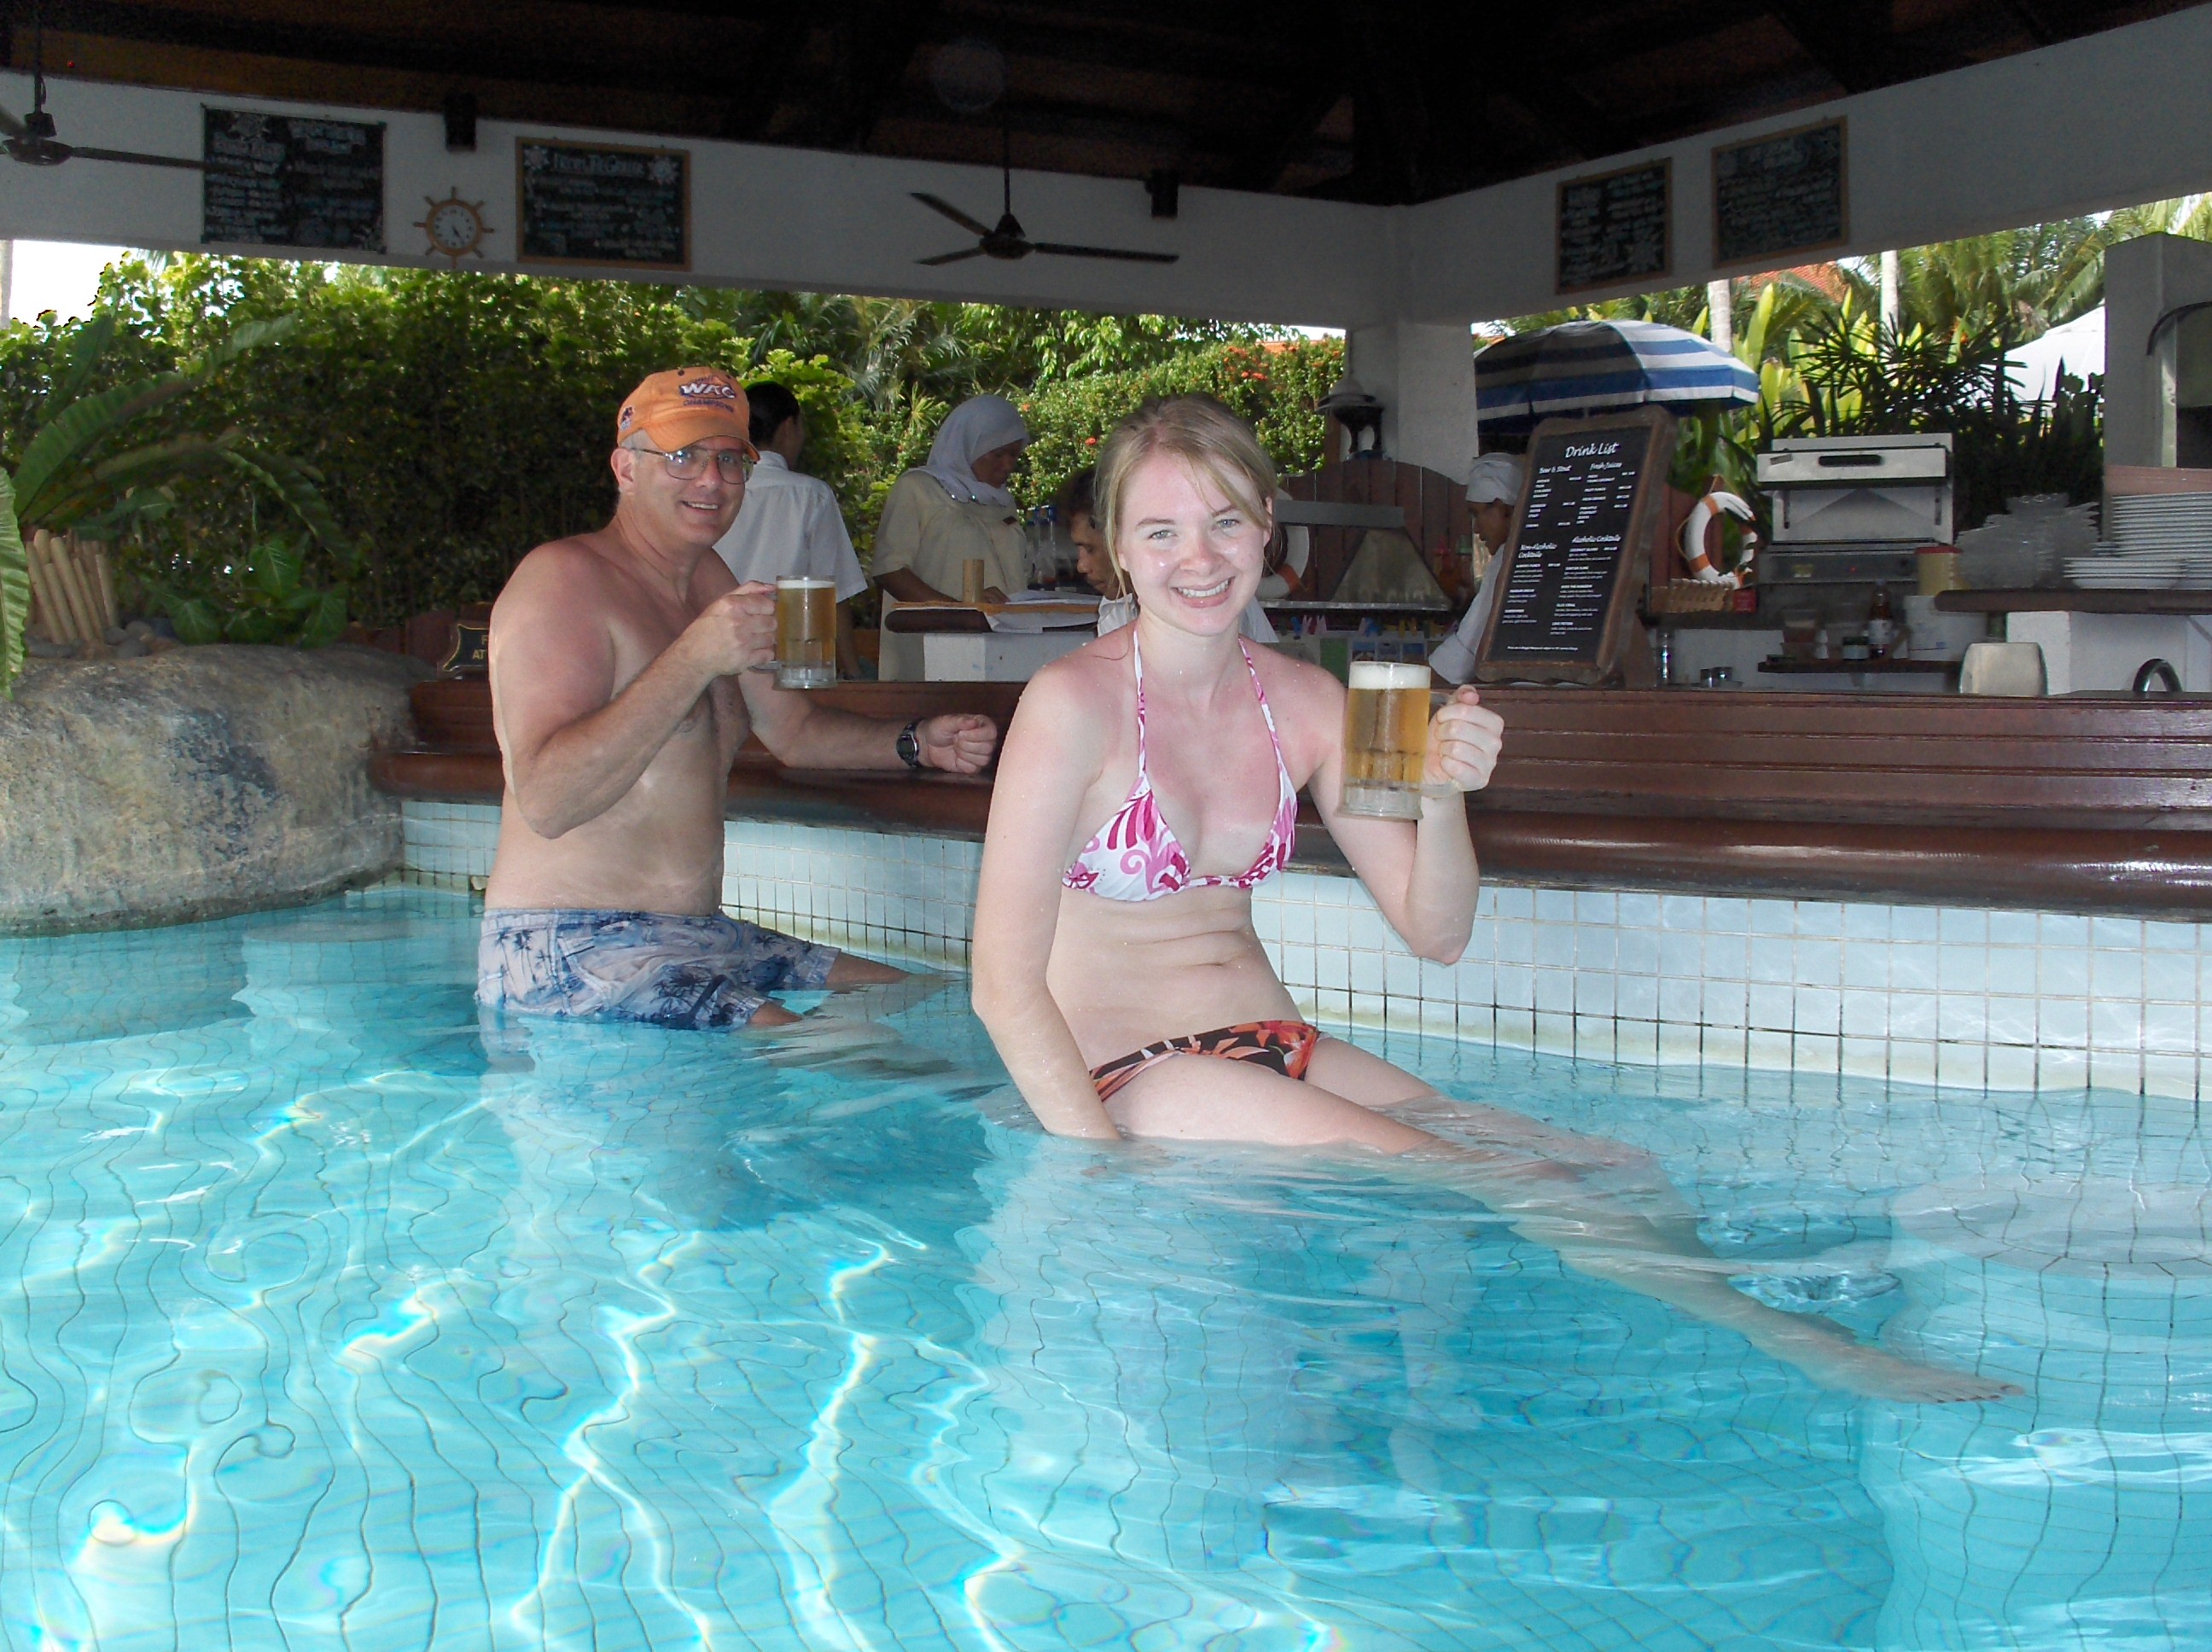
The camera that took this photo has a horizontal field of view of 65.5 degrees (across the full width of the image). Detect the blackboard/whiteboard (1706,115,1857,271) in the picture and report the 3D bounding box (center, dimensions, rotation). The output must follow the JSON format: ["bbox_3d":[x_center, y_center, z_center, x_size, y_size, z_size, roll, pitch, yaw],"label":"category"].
[{"bbox_3d":[3.805,-3.612,9.767,1.018,0.747,0.055,-16,26,-15],"label":"blackboard/whiteboard"}]

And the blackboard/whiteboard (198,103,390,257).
[{"bbox_3d":[-4.392,-3.469,9.199,1.163,0.702,0.105,-3,6,-17],"label":"blackboard/whiteboard"}]

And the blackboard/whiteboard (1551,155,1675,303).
[{"bbox_3d":[3.147,-3.706,10.587,0.067,0.695,1.113,-14,18,-29],"label":"blackboard/whiteboard"}]

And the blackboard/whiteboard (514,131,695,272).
[{"bbox_3d":[-2.851,-3.559,9.821,1.219,0.662,0.112,12,23,19],"label":"blackboard/whiteboard"}]

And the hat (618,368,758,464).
[{"bbox_3d":[-0.934,-0.926,3.801,0.221,0.190,0.265,-9,12,-40],"label":"hat"}]

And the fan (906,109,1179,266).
[{"bbox_3d":[-0.534,-3.623,9.730,1.547,0.695,1.202,1,6,0],"label":"fan"}]

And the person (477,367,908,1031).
[{"bbox_3d":[-0.906,-0.266,3.731,0.860,1.461,0.983,-6,11,-25],"label":"person"}]

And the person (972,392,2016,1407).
[{"bbox_3d":[0.619,0.100,2.452,1.793,1.202,0.737,13,22,32],"label":"person"}]

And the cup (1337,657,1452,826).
[{"bbox_3d":[0.372,-0.119,2.296,0.116,0.206,0.101,-1,10,4],"label":"cup"}]
